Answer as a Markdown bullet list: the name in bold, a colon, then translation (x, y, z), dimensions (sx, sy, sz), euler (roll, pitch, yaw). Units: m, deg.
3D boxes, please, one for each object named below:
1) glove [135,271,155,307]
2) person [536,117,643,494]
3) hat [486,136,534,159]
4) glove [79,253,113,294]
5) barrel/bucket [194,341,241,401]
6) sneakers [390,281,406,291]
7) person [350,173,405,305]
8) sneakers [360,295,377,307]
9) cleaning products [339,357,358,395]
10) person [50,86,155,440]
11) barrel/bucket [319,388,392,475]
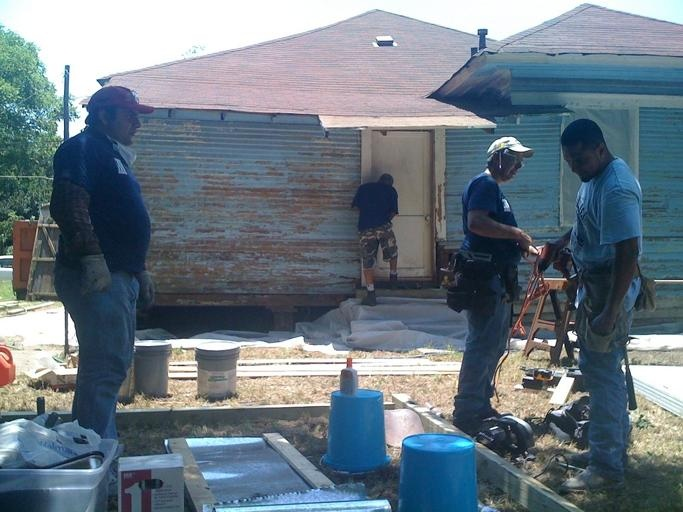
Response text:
- **glove**: translation (-2.040, 0.325, 9.203), dimensions (0.114, 0.321, 0.233), euler (-4, -11, 33)
- **person**: translation (2.527, 0.466, 8.721), dimensions (0.704, 3.565, 0.454), euler (2, 3, 16)
- **hat**: translation (1.821, -1.167, 9.718), dimensions (0.507, 0.281, 0.348), euler (-4, -3, 24)
- **glove**: translation (-2.321, 0.161, 8.507), dimensions (0.269, 0.359, 0.062), euler (0, 3, -16)
- **barrel/bucket**: translation (-1.481, 1.378, 10.767), dimensions (0.559, 0.593, 0.584), euler (1, 4, 0)
- **sneakers**: translation (0.934, 0.478, 14.509), dimensions (0.138, 0.222, 0.225), euler (1, -6, -26)
- **person**: translation (0.592, -0.285, 14.251), dimensions (0.722, 2.028, 0.635), euler (-1, 4, -21)
- **sneakers**: translation (0.457, 0.660, 13.989), dimensions (0.241, 0.182, 0.175), euler (1, 3, 1)
- **cleaning products**: translation (0.092, 1.216, 9.123), dimensions (0.266, 0.330, 0.266), euler (2, -1, -25)
- **person**: translation (-2.331, 0.066, 8.725), dimensions (0.949, 3.435, 0.639), euler (-1, 4, -22)
- **barrel/bucket**: translation (0.167, 1.743, 9.116), dimensions (0.743, 0.746, 0.715), euler (-1, -2, 0)
